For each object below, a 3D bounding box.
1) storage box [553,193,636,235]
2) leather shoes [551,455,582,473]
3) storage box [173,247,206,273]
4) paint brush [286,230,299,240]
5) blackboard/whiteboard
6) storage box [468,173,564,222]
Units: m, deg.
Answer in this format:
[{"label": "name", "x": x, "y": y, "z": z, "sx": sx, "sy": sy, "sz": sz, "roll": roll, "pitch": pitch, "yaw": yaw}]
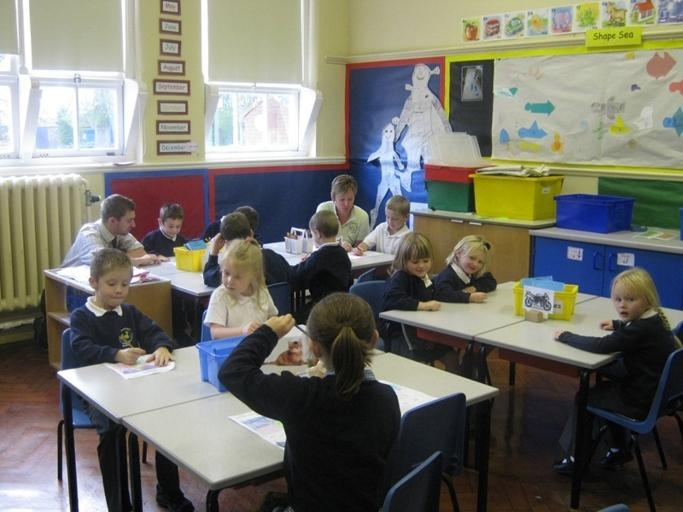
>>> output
[{"label": "storage box", "x": 2.044, "y": -0.373, "z": 4.856, "sx": 0.331, "sy": 0.250, "sz": 0.502, "roll": -7, "pitch": 11, "yaw": -34}, {"label": "leather shoes", "x": 1.201, "y": 1.130, "z": 3.182, "sx": 0.087, "sy": 0.061, "sz": 0.154, "roll": 5, "pitch": 2, "yaw": 41}, {"label": "storage box", "x": -1.122, "y": 0.028, "z": 4.299, "sx": 0.184, "sy": 0.126, "sz": 0.187, "roll": 4, "pitch": 6, "yaw": 40}, {"label": "paint brush", "x": -0.416, "y": -0.167, "z": 4.852, "sx": 0.095, "sy": 0.049, "sz": 0.129, "roll": -1, "pitch": 0, "yaw": -20}, {"label": "blackboard/whiteboard", "x": 1.993, "y": -1.276, "z": 5.160, "sx": 1.797, "sy": 1.136, "sz": 0.043, "roll": 8, "pitch": 13, "yaw": 41}, {"label": "storage box", "x": 1.538, "y": -0.503, "z": 5.247, "sx": 0.642, "sy": 0.346, "sz": 0.444, "roll": 3, "pitch": 6, "yaw": 37}]
